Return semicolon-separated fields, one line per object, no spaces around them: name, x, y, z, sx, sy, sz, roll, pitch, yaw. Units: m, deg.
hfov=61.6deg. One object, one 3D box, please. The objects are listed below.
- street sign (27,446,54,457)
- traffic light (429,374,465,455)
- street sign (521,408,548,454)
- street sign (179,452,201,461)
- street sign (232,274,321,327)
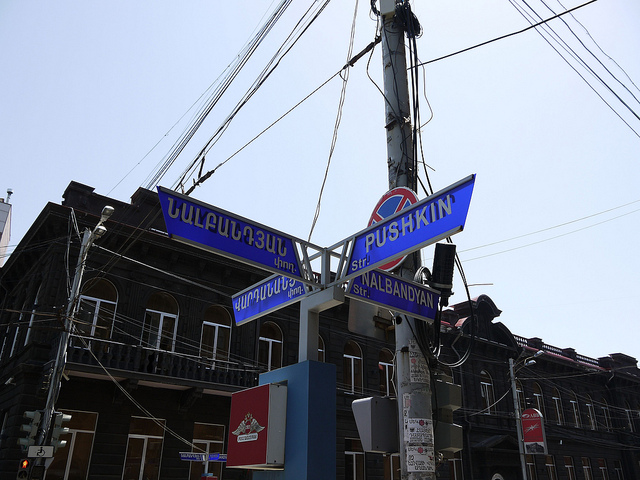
street sign;-8.814;6.576;16.709;0.459;0.276;0.008;13;-38;-33
traffic light;2.069;2.783;8.791;0.417;1.282;0.754;-23;-37;33
street sign;11.109;9.978;27.996;0.975;0.251;2.672;-7;-78;20
street sign;-5.205;8.555;21.252;0.866;0.272;0.120;16;-34;-24
street sign;-0.921;0.971;9.592;1.797;0.700;0.307;-22;-37;29
